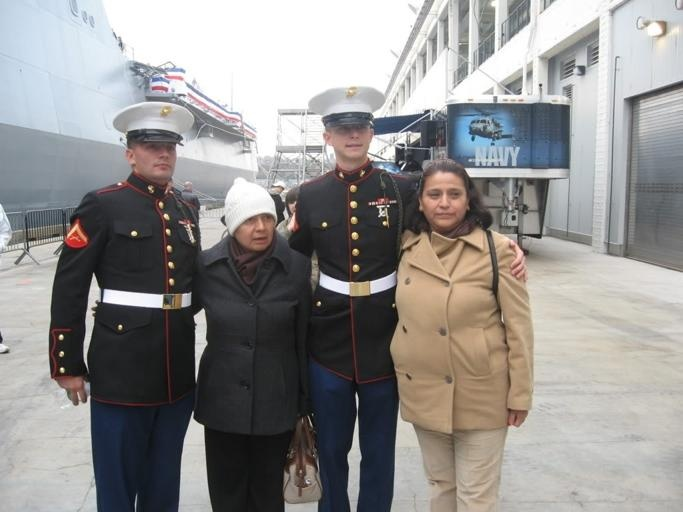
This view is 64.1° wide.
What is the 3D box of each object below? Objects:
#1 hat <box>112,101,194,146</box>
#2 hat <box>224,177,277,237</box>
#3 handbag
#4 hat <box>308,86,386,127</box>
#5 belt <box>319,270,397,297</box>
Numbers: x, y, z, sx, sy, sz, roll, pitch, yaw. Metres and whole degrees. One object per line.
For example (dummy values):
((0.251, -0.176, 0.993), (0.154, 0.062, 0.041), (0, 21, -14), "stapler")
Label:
((-1.212, -0.813, 3.532), (0.451, 0.218, 0.506), (-2, -2, 21), "hat")
((-0.632, -0.313, 3.537), (0.288, 0.350, 0.374), (-3, 15, -23), "hat")
((-0.251, 1.289, 3.437), (0.231, 0.468, 0.591), (1, 1, -3), "handbag")
((0.026, -1.007, 3.758), (0.568, 0.261, 0.592), (-1, 9, 8), "hat")
((0.095, 0.178, 3.543), (0.508, 0.125, 0.174), (0, 11, 6), "belt")
